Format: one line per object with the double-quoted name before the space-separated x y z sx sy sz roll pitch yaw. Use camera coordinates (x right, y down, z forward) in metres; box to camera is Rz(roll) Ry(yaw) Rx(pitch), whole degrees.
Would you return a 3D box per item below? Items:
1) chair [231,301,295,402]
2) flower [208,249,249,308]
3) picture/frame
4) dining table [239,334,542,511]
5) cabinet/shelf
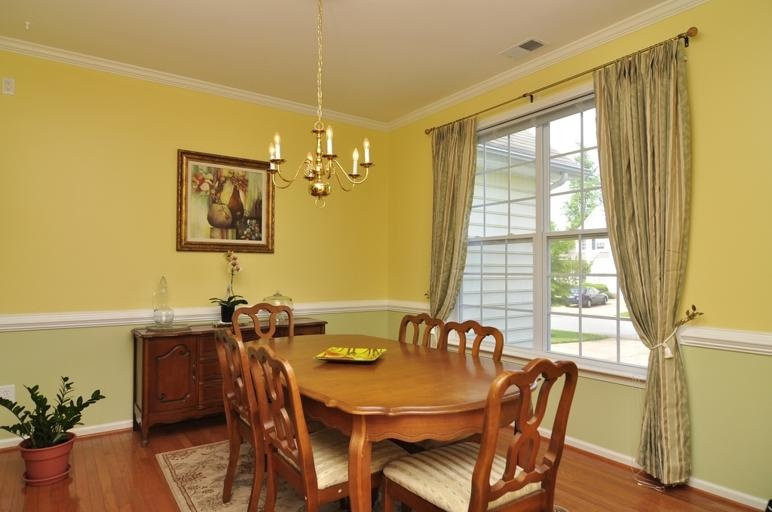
"chair" -1.263 0.823 5.636 0.630 0.765 0.474 1 -3 -27
"flower" -1.797 0.273 6.237 0.412 0.533 0.333 -1 -5 22
"picture/frame" -1.916 -0.655 6.184 1.218 1.259 0.086 3 -7 -36
"dining table" -0.011 1.254 3.864 0.801 0.693 1.348 -3 2 -30
"cabinet/shelf" -1.754 1.363 6.128 2.027 1.262 0.625 0 6 -36
